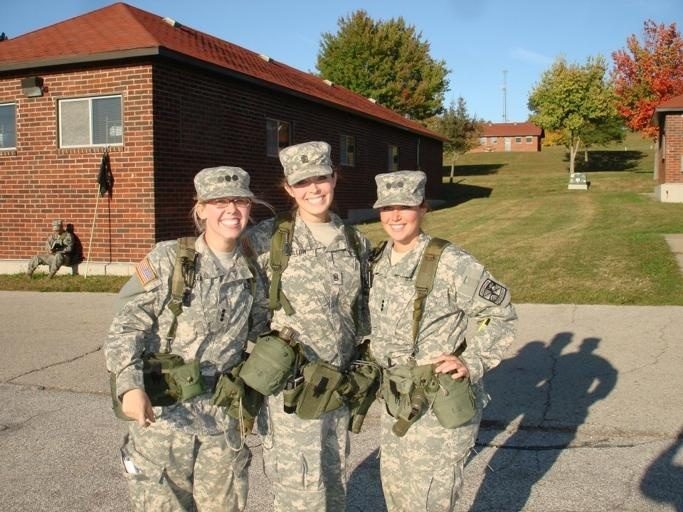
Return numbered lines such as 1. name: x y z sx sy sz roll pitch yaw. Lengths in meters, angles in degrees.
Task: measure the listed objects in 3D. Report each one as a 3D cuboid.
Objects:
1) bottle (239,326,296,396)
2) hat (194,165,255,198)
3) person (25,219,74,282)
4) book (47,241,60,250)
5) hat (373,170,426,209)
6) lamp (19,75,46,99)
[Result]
1. bottle: -0.481 0.742 4.353 0.334 0.418 0.245 33 12 19
2. hat: -0.818 -0.574 4.486 0.391 0.180 0.391 -7 32 -43
3. person: -6.773 -0.202 14.778 0.797 1.255 1.069 5 14 23
4. book: -6.774 -0.253 14.704 0.046 0.183 0.185 32 55 1
5. hat: 0.446 -0.554 4.665 0.422 0.149 0.518 -6 32 7
6. lamp: -7.380 -4.093 14.996 0.647 0.545 0.324 1 12 8
